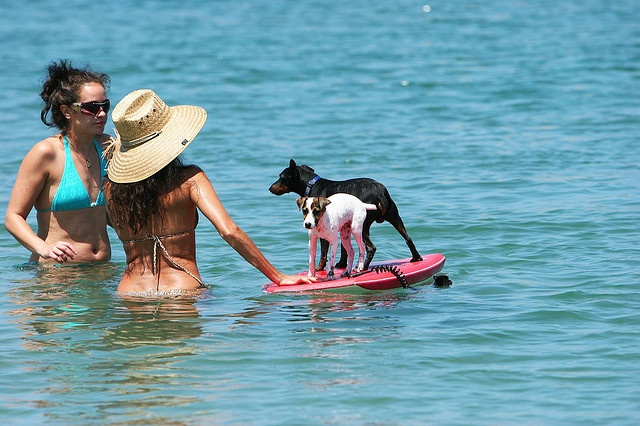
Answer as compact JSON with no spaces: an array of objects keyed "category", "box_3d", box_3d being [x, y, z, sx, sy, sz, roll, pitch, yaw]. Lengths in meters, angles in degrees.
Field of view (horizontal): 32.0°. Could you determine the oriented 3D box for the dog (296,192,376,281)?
[{"category":"dog","box_3d":[0.189,0.323,16.844,0.665,1.114,1.820,0,5,34]}]
